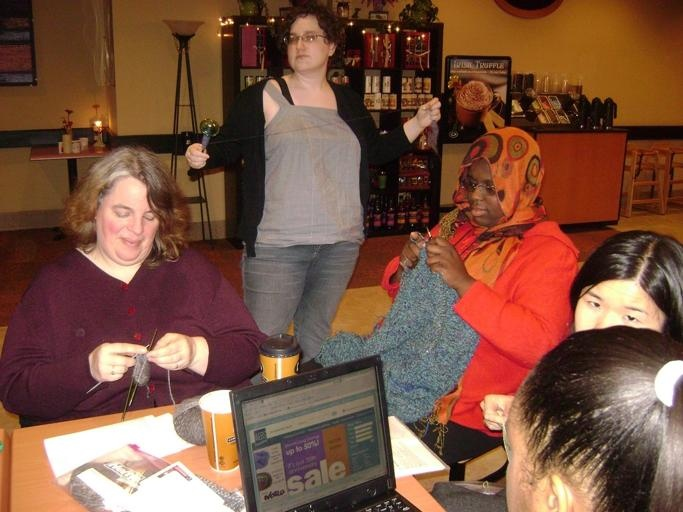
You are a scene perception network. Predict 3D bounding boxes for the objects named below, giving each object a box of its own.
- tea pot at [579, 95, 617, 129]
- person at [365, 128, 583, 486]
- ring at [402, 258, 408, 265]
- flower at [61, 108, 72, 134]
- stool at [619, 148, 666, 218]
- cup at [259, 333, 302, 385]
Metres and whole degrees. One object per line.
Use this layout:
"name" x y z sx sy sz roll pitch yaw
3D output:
"tea pot" 3.436 -1.872 7.145 0.501 0.416 0.462 -1 16 0
"person" 0.539 0.269 2.290 0.719 1.481 0.779 14 13 25
"ring" 0.265 0.022 2.196 0.019 0.020 0.006 -6 -14 30
"flower" -3.282 -1.604 6.528 0.138 0.274 0.294 -9 17 -26
"stool" 4.648 -1.162 8.168 0.612 0.971 2.068 7 18 27
"cup" -0.163 0.278 1.557 0.112 0.124 0.116 0 16 0
